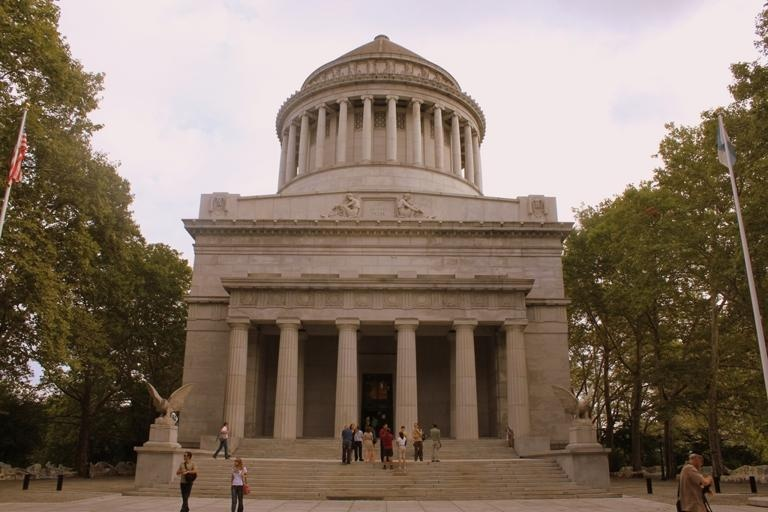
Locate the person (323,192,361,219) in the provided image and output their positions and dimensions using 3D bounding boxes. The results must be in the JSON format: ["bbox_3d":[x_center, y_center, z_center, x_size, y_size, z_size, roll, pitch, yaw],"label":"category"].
[{"bbox_3d":[-3.102,-3.650,50.289,2.222,1.466,0.579,-3,-38,3],"label":"person"}]
